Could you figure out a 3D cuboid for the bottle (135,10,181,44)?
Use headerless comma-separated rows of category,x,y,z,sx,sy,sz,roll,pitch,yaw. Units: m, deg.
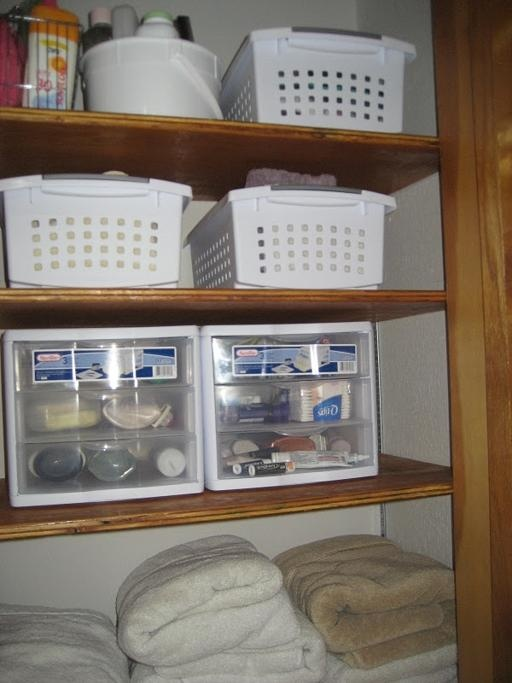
bottle,-0.161,-0.515,1.078,0.069,0.064,0.072,-6,4,-8

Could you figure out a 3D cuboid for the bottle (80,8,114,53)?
bottle,-0.290,-0.562,1.186,0.053,0.058,0.090,-8,5,-35
